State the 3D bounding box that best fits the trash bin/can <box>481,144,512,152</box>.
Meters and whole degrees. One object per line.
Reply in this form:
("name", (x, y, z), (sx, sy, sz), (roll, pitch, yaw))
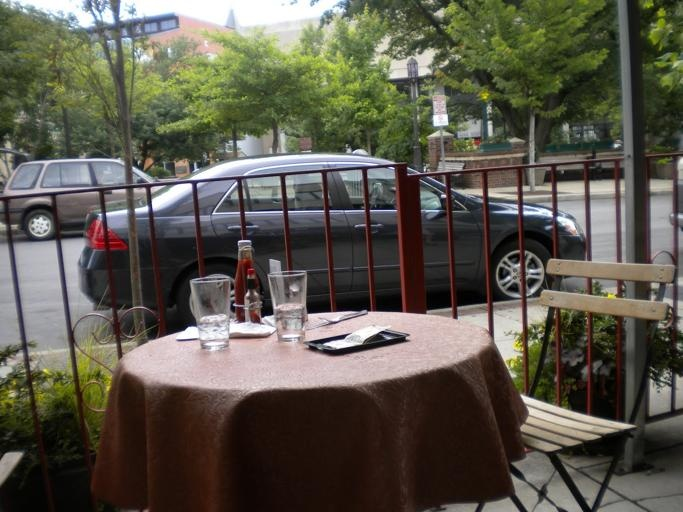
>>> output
("trash bin/can", (6.495, -4.637, 24.986), (1.686, 0.358, 0.733), (-12, 15, -41))
